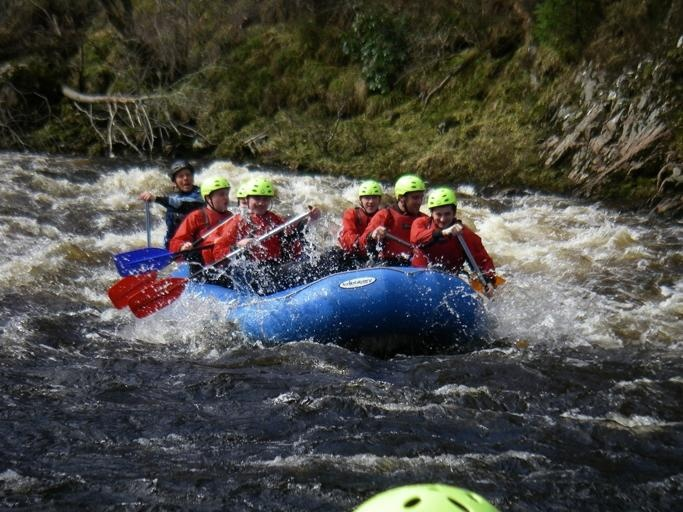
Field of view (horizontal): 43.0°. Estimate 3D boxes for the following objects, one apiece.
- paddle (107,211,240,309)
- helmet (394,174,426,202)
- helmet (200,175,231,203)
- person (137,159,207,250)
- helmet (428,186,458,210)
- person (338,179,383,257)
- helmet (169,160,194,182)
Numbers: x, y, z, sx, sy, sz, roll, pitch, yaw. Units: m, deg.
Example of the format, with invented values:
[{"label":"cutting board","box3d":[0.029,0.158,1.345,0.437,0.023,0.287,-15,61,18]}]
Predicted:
[{"label":"paddle","box3d":[-2.293,0.077,13.135,2.614,0.887,0.264,-29,-3,-36]},{"label":"helmet","box3d":[0.997,-1.036,12.854,0.395,0.335,0.308,-15,3,30]},{"label":"helmet","box3d":[-1.941,-1.080,13.396,0.321,0.437,0.329,-10,-1,43]},{"label":"person","box3d":[-3.030,-0.862,15.280,0.974,1.163,2.133,-27,22,-13]},{"label":"helmet","box3d":[1.436,-0.775,12.439,0.280,0.395,0.316,-2,47,10]},{"label":"person","box3d":[0.312,-0.526,13.275,0.642,0.450,1.174,-1,70,23]},{"label":"helmet","box3d":[-2.613,-1.403,14.173,0.293,0.420,0.372,0,5,-16]}]
